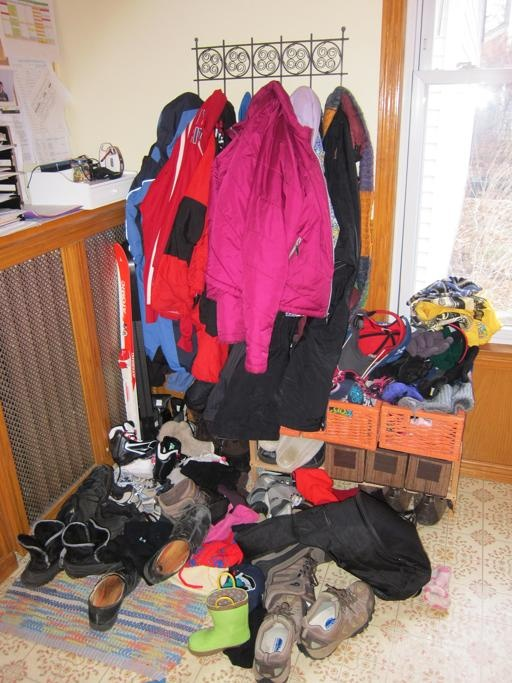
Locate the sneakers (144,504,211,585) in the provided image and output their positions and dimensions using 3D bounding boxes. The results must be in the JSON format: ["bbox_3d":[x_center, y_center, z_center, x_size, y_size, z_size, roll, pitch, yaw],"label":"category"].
[{"bbox_3d":[-0.275,0.722,1.797,0.111,0.108,0.284,34,51,5],"label":"sneakers"}]

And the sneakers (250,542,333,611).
[{"bbox_3d":[0.137,0.768,1.702,0.162,0.107,0.266,8,56,11],"label":"sneakers"}]

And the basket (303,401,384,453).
[{"bbox_3d":[0.351,0.306,1.867,0.203,0.121,0.197,4,11,12],"label":"basket"}]

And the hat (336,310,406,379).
[{"bbox_3d":[0.456,0.014,1.941,0.243,0.228,0.238,7,25,17],"label":"hat"}]

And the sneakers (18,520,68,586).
[{"bbox_3d":[-0.738,0.726,1.749,0.161,0.191,0.166,-10,25,-21],"label":"sneakers"}]

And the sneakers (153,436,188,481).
[{"bbox_3d":[-0.374,0.474,2.082,0.077,0.123,0.192,2,23,7],"label":"sneakers"}]

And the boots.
[{"bbox_3d":[-0.116,0.806,1.489,0.184,0.167,0.142,-5,24,-10],"label":"boots"}]

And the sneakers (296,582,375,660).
[{"bbox_3d":[0.250,0.811,1.522,0.299,0.125,0.120,-21,28,-32],"label":"sneakers"}]

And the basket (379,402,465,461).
[{"bbox_3d":[0.583,0.323,1.797,0.246,0.144,0.242,6,12,21],"label":"basket"}]

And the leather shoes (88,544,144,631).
[{"bbox_3d":[-0.462,0.792,1.638,0.081,0.076,0.214,8,24,4],"label":"leather shoes"}]
